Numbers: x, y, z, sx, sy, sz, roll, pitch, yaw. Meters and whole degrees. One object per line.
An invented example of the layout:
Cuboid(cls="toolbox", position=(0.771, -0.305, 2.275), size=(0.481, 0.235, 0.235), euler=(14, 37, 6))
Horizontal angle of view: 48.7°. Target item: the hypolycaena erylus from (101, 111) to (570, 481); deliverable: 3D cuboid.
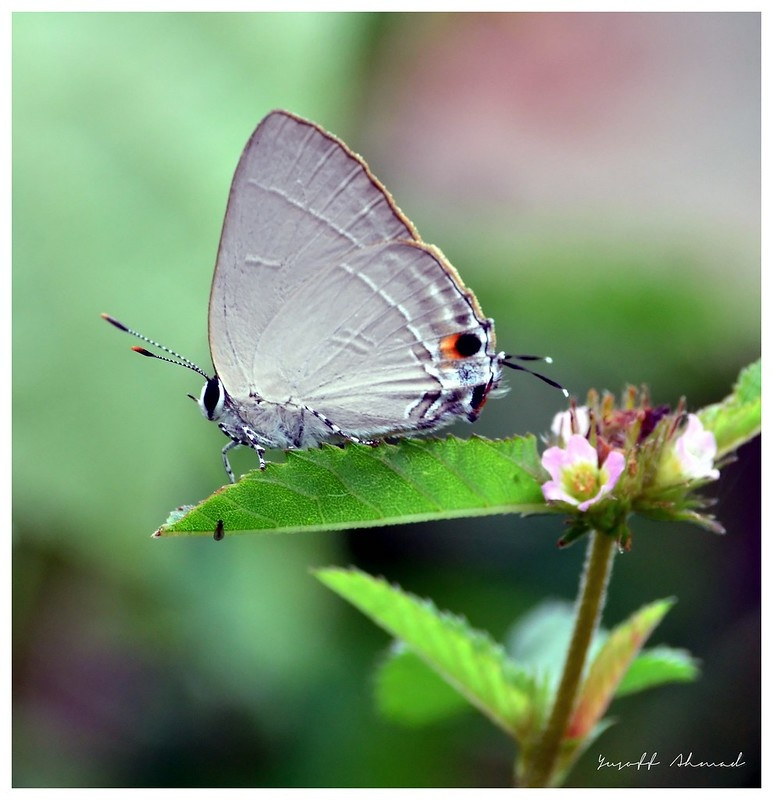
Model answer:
Cuboid(cls="hypolycaena erylus", position=(-0.243, -0.327, 3.603), size=(1.783, 1.159, 1.507), euler=(-4, -8, -7))

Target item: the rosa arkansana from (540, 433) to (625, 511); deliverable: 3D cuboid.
Cuboid(cls="rosa arkansana", position=(0.542, 0.200, 2.428), size=(0.237, 0.217, 0.211), euler=(3, 8, 4))
